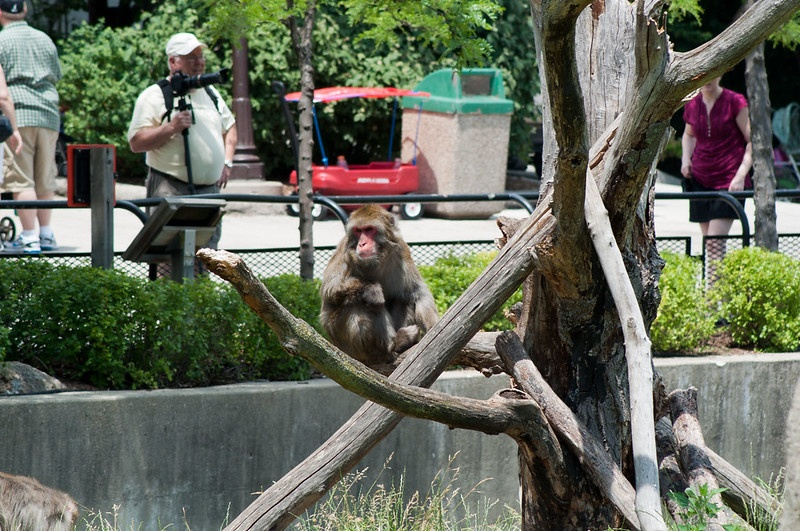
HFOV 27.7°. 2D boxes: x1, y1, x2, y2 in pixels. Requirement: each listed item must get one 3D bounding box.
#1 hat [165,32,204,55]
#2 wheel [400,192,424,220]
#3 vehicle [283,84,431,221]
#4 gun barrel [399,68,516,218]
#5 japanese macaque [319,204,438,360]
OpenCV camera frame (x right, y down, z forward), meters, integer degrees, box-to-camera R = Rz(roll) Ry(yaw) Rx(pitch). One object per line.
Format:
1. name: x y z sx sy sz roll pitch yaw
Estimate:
1. hat: -2.330 -2.308 17.282 0.330 0.202 0.275 -8 9 30
2. wheel: 0.243 -0.951 24.543 0.180 0.587 0.514 5 11 43
3. vehicle: -0.610 -1.922 24.315 1.937 2.290 1.857 -9 14 -36
4. gun barrel: 0.932 -2.054 25.522 1.399 2.710 1.343 2 15 -1
5. japanese macaque: -0.256 0.235 15.885 1.044 1.604 0.987 -1 -13 -20
